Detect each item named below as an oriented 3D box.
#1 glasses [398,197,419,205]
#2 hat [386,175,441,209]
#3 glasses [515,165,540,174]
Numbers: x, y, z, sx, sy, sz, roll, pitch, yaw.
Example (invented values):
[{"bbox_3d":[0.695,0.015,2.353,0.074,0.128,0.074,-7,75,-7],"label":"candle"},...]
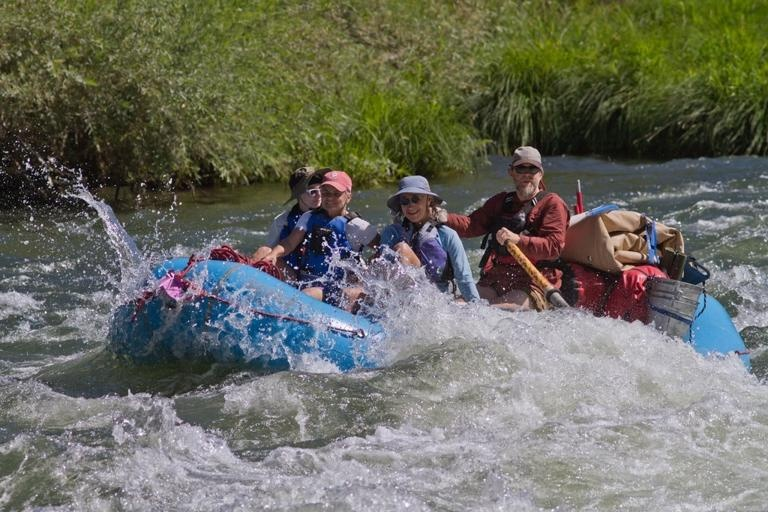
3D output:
[{"bbox_3d":[0.290,-0.632,12.842,0.221,0.095,0.072,5,22,14],"label":"glasses"},{"bbox_3d":[0.295,-0.781,12.988,0.466,0.218,0.452,-2,-2,-12],"label":"hat"},{"bbox_3d":[1.669,-1.019,13.021,0.271,0.104,0.046,0,22,2],"label":"glasses"}]
